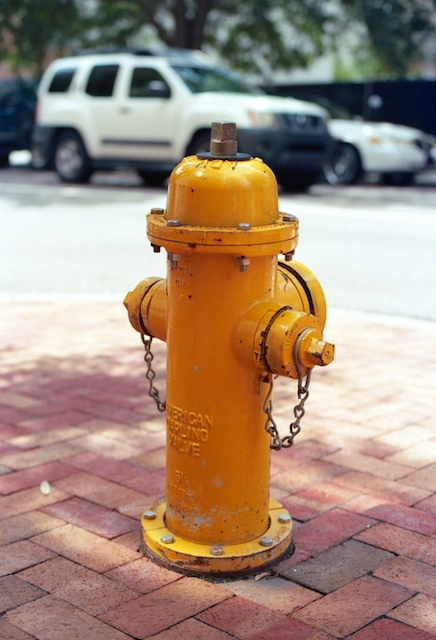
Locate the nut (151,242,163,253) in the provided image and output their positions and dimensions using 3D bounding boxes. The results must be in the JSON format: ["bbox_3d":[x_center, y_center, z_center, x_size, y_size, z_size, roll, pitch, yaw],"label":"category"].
[{"bbox_3d":[-0.186,-0.217,2.311,0.036,0.026,0.052,0,3,-14],"label":"nut"}]

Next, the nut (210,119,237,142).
[{"bbox_3d":[0.027,-0.550,2.261,0.084,0.067,0.081,-7,18,-33],"label":"nut"}]

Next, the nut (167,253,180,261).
[{"bbox_3d":[-0.130,-0.180,2.221,0.030,0.015,0.027,0,6,-7],"label":"nut"}]

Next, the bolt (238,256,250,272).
[{"bbox_3d":[0.072,-0.158,2.151,0.040,0.038,0.036,0,3,5],"label":"bolt"}]

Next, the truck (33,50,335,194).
[{"bbox_3d":[-0.383,-2.883,11.468,5.471,2.069,2.853,3,10,28],"label":"truck"}]

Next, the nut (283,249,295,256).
[{"bbox_3d":[0.217,-0.203,2.326,0.025,0.020,0.023,0,-4,-3],"label":"nut"}]

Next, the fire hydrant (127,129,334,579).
[{"bbox_3d":[0.037,0.112,2.329,0.570,1.333,0.409,0,19,0],"label":"fire hydrant"}]

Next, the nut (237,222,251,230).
[{"bbox_3d":[0.069,-0.256,2.110,0.032,0.012,0.026,0,5,0],"label":"nut"}]

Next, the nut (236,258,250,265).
[{"bbox_3d":[0.070,-0.164,2.161,0.037,0.024,0.039,0,17,0],"label":"nut"}]

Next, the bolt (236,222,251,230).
[{"bbox_3d":[0.068,-0.256,2.109,0.031,0.013,0.027,0,3,0],"label":"bolt"}]

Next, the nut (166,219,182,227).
[{"bbox_3d":[-0.123,-0.268,2.172,0.032,0.009,0.028,-3,5,-39],"label":"nut"}]

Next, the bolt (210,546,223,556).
[{"bbox_3d":[-0.005,0.703,2.354,0.024,0.012,0.023,5,6,28],"label":"bolt"}]

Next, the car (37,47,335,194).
[{"bbox_3d":[-1.257,-2.741,11.653,5.597,2.236,2.718,4,11,28],"label":"car"}]

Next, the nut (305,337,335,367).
[{"bbox_3d":[0.281,0.091,2.183,0.090,0.071,0.105,-17,-16,19],"label":"nut"}]

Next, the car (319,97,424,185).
[{"bbox_3d":[2.485,-2.740,12.443,2.154,0.740,1.135,4,11,-1],"label":"car"}]
